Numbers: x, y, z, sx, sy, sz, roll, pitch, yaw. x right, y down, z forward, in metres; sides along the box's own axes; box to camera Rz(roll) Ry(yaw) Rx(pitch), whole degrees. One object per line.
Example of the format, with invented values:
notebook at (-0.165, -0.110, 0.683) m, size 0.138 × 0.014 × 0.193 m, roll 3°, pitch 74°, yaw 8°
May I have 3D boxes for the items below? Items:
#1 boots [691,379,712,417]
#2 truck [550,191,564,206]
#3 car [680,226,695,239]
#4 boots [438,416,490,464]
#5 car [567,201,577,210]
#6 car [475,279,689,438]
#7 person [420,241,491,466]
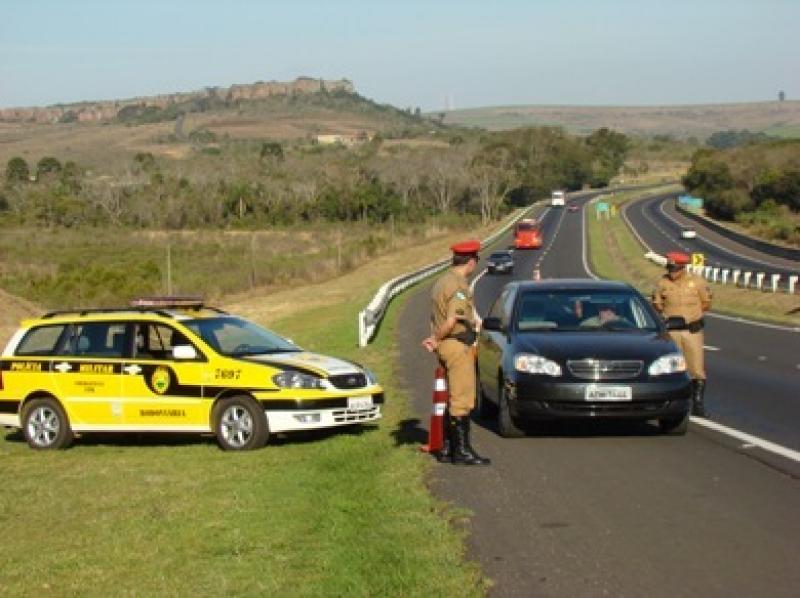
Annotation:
boots at (4.431, 1.457, 11.651) m, size 0.184 × 0.510 × 0.365 m, roll -1°, pitch 3°, yaw 20°
truck at (23.943, -15.159, 119.645) m, size 1.543 × 2.510 × 2.532 m, roll -2°, pitch 3°, yaw 4°
car at (29.128, -6.613, 79.781) m, size 1.012 × 0.946 × 1.857 m, roll -1°, pitch 11°, yaw 2°
boots at (0.692, 1.690, 9.489) m, size 0.725 × 0.695 × 0.373 m, roll -1°, pitch 3°, yaw -2°
car at (24.900, -13.351, 113.650) m, size 1.045 × 0.882 × 2.516 m, roll 2°, pitch 16°, yaw 5°
car at (2.463, 0.815, 11.002) m, size 2.560 × 2.088 × 2.548 m, roll -2°, pitch 3°, yaw 1°
person at (0.653, 0.652, 9.304) m, size 0.700 × 2.634 × 0.587 m, roll -2°, pitch 3°, yaw -5°
